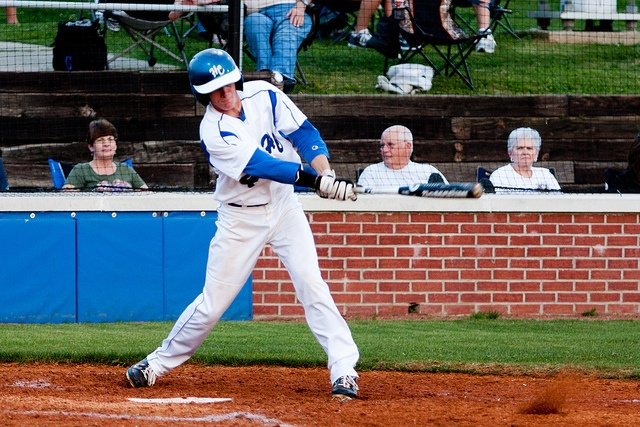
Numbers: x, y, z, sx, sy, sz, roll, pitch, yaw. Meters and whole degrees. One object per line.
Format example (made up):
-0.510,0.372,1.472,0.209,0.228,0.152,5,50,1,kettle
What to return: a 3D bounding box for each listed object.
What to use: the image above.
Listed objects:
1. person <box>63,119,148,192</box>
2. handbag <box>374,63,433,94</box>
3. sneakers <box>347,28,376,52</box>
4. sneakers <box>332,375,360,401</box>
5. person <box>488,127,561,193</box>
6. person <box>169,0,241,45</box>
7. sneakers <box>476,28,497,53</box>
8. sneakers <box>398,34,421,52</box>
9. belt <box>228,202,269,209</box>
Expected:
-2.526,-0.642,20.932,1.111,0.903,0.449,-2,-4,-23,person
1.064,-1.685,22.682,0.459,0.179,0.485,1,28,3,handbag
0.490,-2.255,23.366,0.173,0.197,0.408,0,1,-28,sneakers
0.237,1.752,18.730,0.265,0.247,0.155,-1,8,-6,sneakers
2.367,-0.587,21.018,0.915,0.858,0.468,0,-6,-8,person
-1.321,-2.307,21.030,0.558,0.829,0.574,2,-4,-27,person
2.219,-2.327,24.540,0.178,0.241,0.509,0,18,7,sneakers
1.119,-2.225,23.557,0.208,0.273,0.204,-5,12,-4,sneakers
-0.781,-0.107,18.837,0.404,0.047,0.051,0,8,-4,belt
